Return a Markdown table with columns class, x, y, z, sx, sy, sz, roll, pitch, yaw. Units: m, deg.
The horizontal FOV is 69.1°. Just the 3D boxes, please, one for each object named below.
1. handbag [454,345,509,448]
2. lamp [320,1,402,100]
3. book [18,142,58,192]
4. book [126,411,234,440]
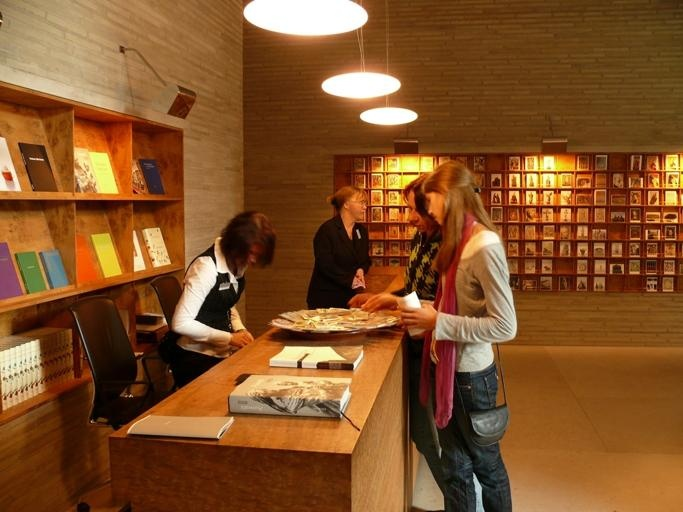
| class | x | y | z | sx | sy | sz | roll | pitch | yaw |
| --- | --- | --- | --- | --- | --- | --- | --- | --- | --- |
| handbag | 0.768 | 0.853 | 2.629 | 0.304 | 0.381 | 0.165 | -5 | 9 | -27 |
| lamp | 0.177 | -1.540 | 3.997 | 0.759 | 0.759 | 0.791 | 1 | 12 | 4 |
| book | -2.146 | -0.633 | 3.555 | 0.201 | 0.339 | 0.220 | 5 | 10 | 37 |
| book | -0.556 | 0.601 | 1.753 | 0.232 | 0.030 | 0.129 | 1 | 2 | 4 |
